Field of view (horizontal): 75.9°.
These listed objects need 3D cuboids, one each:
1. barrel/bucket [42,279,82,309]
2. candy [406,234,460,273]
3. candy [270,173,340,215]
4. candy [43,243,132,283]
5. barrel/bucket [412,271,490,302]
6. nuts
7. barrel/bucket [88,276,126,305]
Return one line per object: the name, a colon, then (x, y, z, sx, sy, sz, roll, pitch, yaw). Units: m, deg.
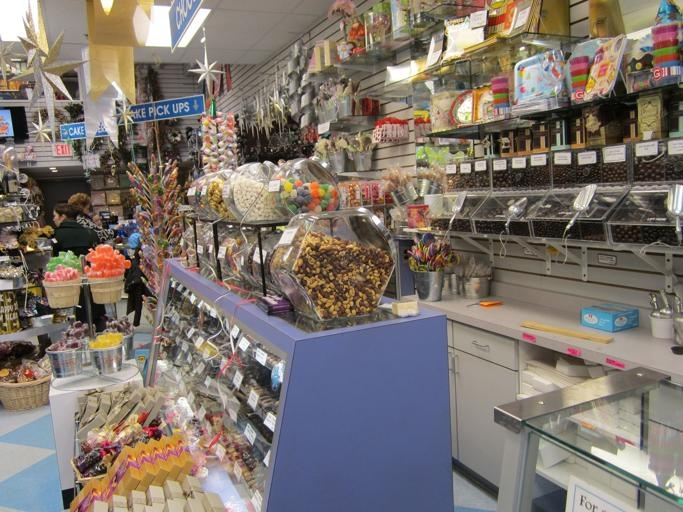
barrel/bucket: (-2.108, 0.249, 3.340, 0.265, 0.194, 0.262, -1, 1, 0)
candy: (0.704, -0.062, 3.330, 0.292, 0.305, 0.315, -4, 11, -32)
candy: (-0.144, -0.266, 1.805, 0.146, 0.156, 0.213, -3, 10, -35)
candy: (-2.044, 0.044, 3.472, 0.451, 0.318, 0.698, 11, 13, 41)
barrel/bucket: (0.829, 0.219, 3.276, 0.537, 0.225, 0.405, 14, 14, 40)
nuts: (-0.036, 0.099, 1.610, 0.332, 0.337, 0.120, -48, 9, -22)
barrel/bucket: (-1.820, 0.252, 3.376, 0.222, 0.166, 0.217, -1, 0, 0)
